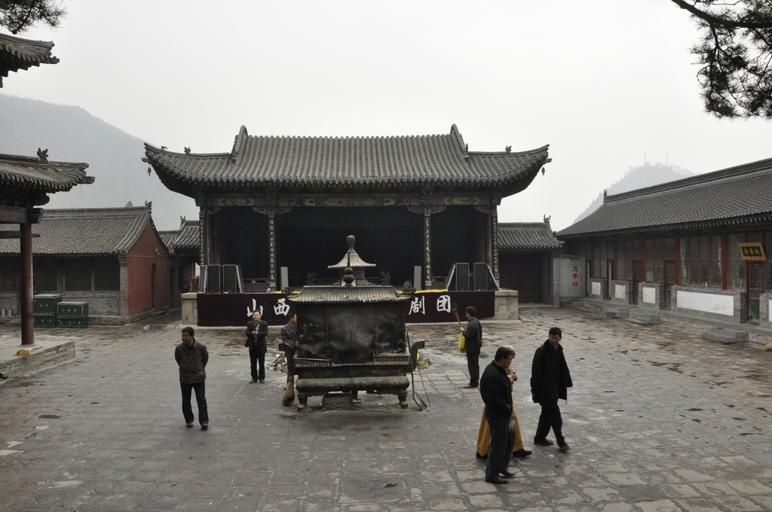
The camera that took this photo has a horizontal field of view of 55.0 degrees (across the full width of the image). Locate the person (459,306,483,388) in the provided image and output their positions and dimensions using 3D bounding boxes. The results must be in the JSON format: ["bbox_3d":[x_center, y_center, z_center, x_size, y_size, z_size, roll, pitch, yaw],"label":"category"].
[{"bbox_3d":[2.230,2.290,19.406,0.485,2.146,1.207,1,10,5],"label":"person"}]

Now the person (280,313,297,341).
[{"bbox_3d":[-2.462,1.813,19.065,0.335,0.591,0.778,-1,10,-5],"label":"person"}]

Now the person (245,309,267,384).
[{"bbox_3d":[-3.450,2.370,19.966,0.526,1.923,0.797,-2,10,-11],"label":"person"}]

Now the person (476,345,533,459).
[{"bbox_3d":[2.368,3.132,15.791,0.915,2.553,0.847,-9,17,-18],"label":"person"}]

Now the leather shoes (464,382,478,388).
[{"bbox_3d":[2.205,3.328,19.221,0.380,0.163,0.132,1,-1,14],"label":"leather shoes"}]

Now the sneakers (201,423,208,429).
[{"bbox_3d":[-4.113,3.875,16.976,0.150,0.126,0.175,0,10,-1],"label":"sneakers"}]

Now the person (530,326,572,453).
[{"bbox_3d":[3.613,2.859,16.317,0.864,2.537,0.951,2,10,13],"label":"person"}]
